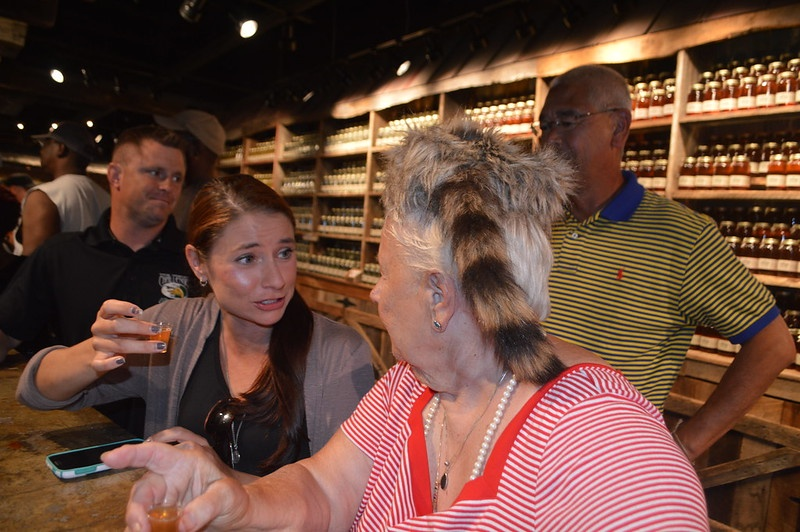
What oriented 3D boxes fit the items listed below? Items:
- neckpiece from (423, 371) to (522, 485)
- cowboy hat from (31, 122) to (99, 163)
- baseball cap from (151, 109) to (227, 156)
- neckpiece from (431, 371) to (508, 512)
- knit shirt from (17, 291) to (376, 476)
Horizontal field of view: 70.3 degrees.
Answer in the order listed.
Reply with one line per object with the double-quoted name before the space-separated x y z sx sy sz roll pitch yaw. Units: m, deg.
"neckpiece" 0.239 0.514 1.836 0.025 0.349 0.262 19 -3 -27
"cowboy hat" -2.662 -1.000 4.542 0.440 0.251 0.317 21 7 -7
"baseball cap" -1.609 -1.110 4.461 0.499 0.265 0.357 30 8 -18
"neckpiece" 0.256 0.549 1.869 0.044 0.434 0.297 21 -13 -25
"knit shirt" -0.779 0.361 2.514 0.848 0.471 1.120 26 24 39
